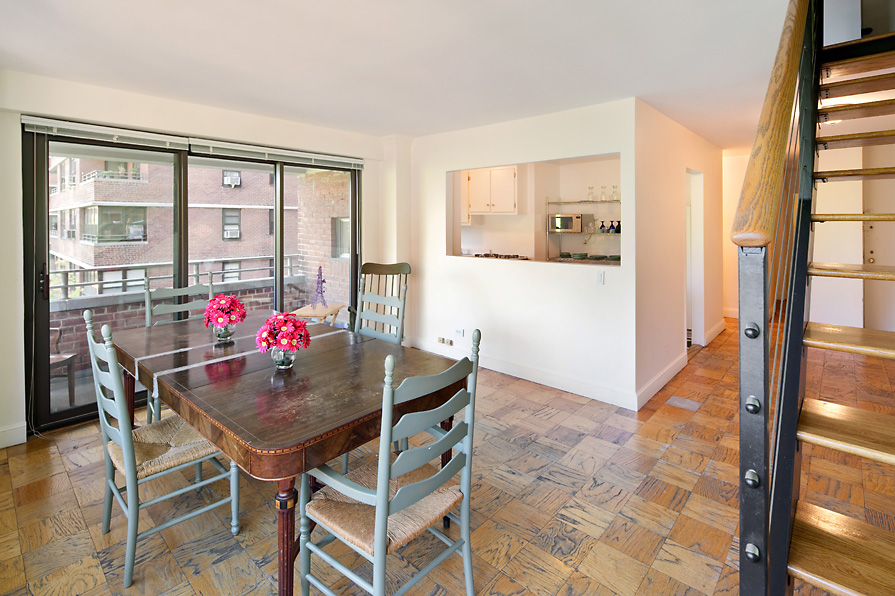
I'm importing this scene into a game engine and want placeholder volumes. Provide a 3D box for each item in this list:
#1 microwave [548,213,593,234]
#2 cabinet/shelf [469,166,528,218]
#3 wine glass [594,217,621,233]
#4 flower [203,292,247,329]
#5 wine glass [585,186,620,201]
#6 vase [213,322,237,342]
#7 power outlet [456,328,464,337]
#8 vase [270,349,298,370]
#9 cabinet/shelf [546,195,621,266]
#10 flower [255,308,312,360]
[{"bbox_3d":[1.495,-0.907,6.798,0.545,0.241,0.207,-1,9,16],"label":"microwave"},{"bbox_3d":[0.621,-1.290,6.710,0.527,0.450,0.219,4,5,44],"label":"cabinet/shelf"},{"bbox_3d":[1.891,-0.841,6.616,0.265,0.158,0.129,1,10,28],"label":"wine glass"},{"bbox_3d":[-1.701,0.082,4.339,0.264,0.274,0.268,4,6,3],"label":"flower"},{"bbox_3d":[1.853,-1.251,6.750,0.478,0.195,0.143,4,4,42],"label":"wine glass"},{"bbox_3d":[-1.677,0.253,4.282,0.139,0.163,0.142,-1,-5,36],"label":"vase"},{"bbox_3d":[0.138,0.387,6.500,0.076,0.075,0.019,-2,-10,37],"label":"power outlet"},{"bbox_3d":[-1.101,0.402,3.798,0.141,0.123,0.148,-1,-5,17],"label":"vase"},{"bbox_3d":[1.630,-0.791,6.705,0.845,0.770,0.297,5,9,33],"label":"cabinet/shelf"},{"bbox_3d":[-1.120,0.228,3.835,0.284,0.295,0.286,-5,10,-34],"label":"flower"}]
